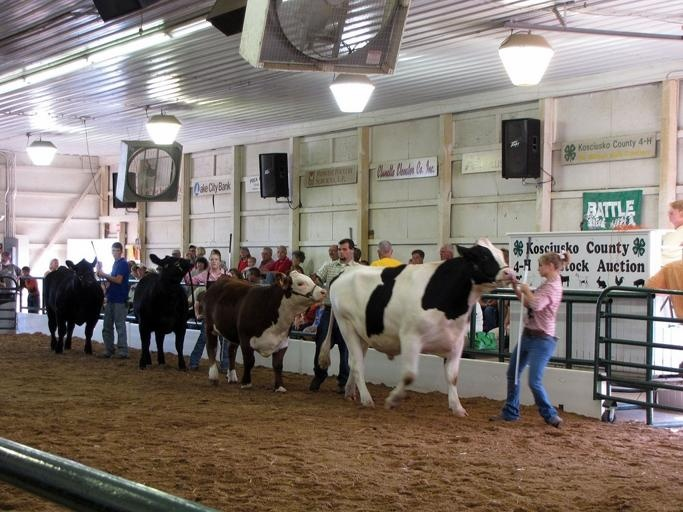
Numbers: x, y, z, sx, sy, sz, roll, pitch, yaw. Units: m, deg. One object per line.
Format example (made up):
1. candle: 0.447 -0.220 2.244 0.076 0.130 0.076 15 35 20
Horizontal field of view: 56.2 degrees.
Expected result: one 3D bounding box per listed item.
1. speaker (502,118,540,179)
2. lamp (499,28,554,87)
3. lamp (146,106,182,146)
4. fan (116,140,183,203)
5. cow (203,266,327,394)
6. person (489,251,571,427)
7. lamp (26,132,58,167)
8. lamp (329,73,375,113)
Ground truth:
1. speaker: 3.174 -1.896 11.184 0.686 1.027 0.508 1 0 8
2. lamp: 2.371 -2.498 8.311 0.627 0.626 0.667 0 -5 2
3. lamp: -3.580 -2.574 12.792 0.743 0.803 0.787 -1 -2 -6
4. fan: -3.426 -1.519 11.927 1.120 1.203 0.453 -2 -9 16
5. cow: -1.100 0.963 8.394 1.947 1.275 0.584 0 -1 39
6. person: 1.915 0.824 6.369 0.602 1.715 0.463 0 0 24
7. lamp: -7.443 -2.627 16.274 0.686 0.894 0.830 -8 12 7
8. lamp: 0.144 -2.411 9.613 0.570 0.598 0.603 0 -6 -8
